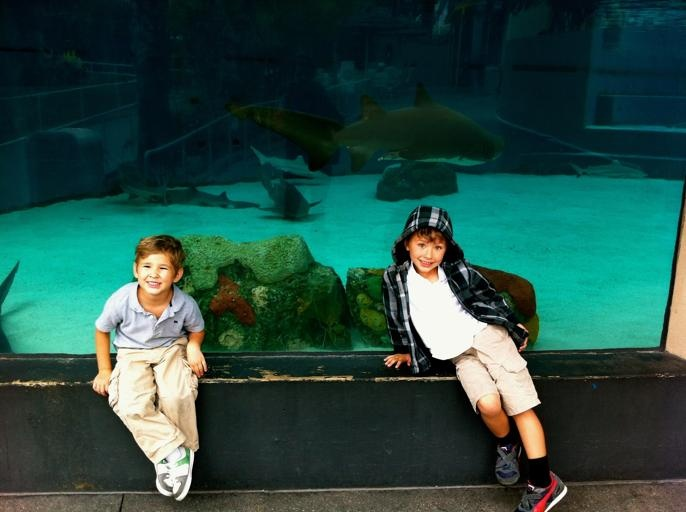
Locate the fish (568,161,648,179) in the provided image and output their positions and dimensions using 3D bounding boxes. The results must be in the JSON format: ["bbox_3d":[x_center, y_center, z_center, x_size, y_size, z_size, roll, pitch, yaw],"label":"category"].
[{"bbox_3d":[1.719,-0.546,3.795,0.303,0.075,0.185,7,21,0],"label":"fish"}]

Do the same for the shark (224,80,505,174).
[{"bbox_3d":[0.194,-0.811,3.764,1.609,0.504,0.061,-2,9,0],"label":"shark"}]

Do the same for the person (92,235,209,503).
[{"bbox_3d":[-1.018,0.568,3.390,0.832,1.275,0.788,-1,6,-13],"label":"person"}]

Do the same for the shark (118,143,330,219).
[{"bbox_3d":[-0.539,-0.464,3.957,1.829,0.384,0.425,4,17,-9],"label":"shark"}]
